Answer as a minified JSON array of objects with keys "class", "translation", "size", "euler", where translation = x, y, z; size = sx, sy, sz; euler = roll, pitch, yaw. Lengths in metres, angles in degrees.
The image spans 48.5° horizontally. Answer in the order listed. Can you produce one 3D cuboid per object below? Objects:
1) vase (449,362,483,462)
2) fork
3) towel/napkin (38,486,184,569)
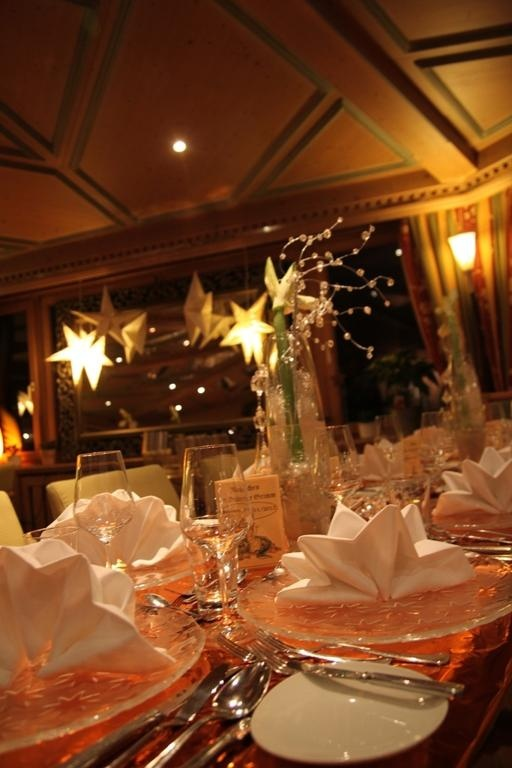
[{"class":"vase","translation":[0.604,0.073,1.615],"size":[0.081,0.327,0.081],"euler":[-3,-6,-14]},{"class":"fork","translation":[0.073,0.223,0.449],"size":[0.017,0.023,0.195],"euler":[38,-35,-24]},{"class":"towel/napkin","translation":[-0.216,0.263,0.961],"size":[0.181,0.082,0.185],"euler":[-18,-33,24]}]
